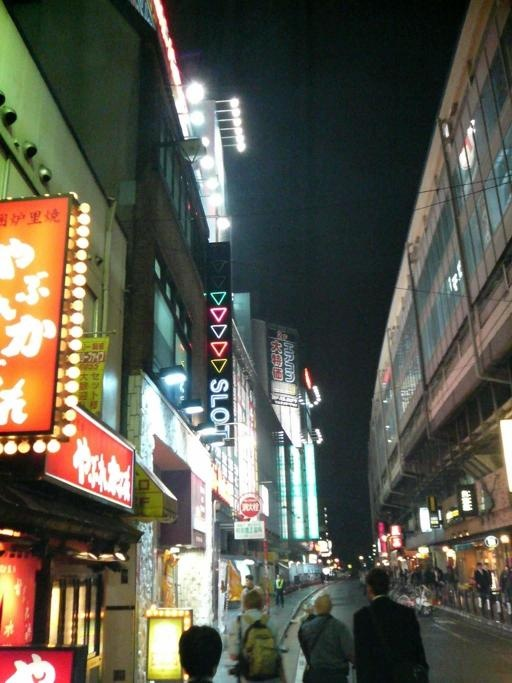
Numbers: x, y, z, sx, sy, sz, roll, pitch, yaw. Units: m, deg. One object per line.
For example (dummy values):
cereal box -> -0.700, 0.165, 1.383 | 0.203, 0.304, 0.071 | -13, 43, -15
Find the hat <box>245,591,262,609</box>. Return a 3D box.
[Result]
hat -> -0.033, 2.842, 6.533 | 0.210, 0.220, 0.290 | -4, -25, -3
